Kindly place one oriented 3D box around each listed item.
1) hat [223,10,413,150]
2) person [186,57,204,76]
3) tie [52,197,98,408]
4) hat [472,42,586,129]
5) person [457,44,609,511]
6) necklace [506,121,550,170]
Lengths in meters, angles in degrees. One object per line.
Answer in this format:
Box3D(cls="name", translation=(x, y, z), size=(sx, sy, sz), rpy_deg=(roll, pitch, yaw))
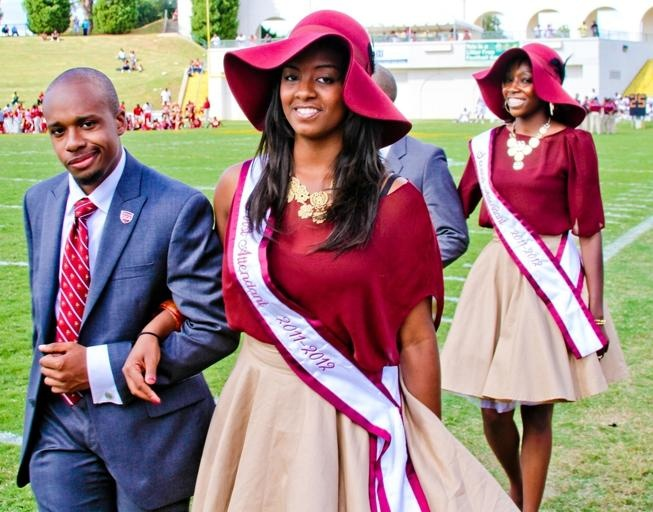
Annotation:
Box3D(cls="hat", translation=(0.014, -0.608, 2.457), size=(0.461, 0.316, 0.507), rpy_deg=(0, 8, -10))
Box3D(cls="person", translation=(-8.297, -12.132, 50.264), size=(0.938, 0.636, 1.405), rpy_deg=(1, 37, 0))
Box3D(cls="tie", translation=(-0.835, 0.046, 2.611), size=(0.128, 0.456, 0.178), rpy_deg=(2, 14, 7))
Box3D(cls="hat", translation=(0.975, -0.905, 3.863), size=(0.464, 0.308, 0.479), rpy_deg=(19, -17, -22))
Box3D(cls="person", translation=(0.974, -0.178, 3.721), size=(0.856, 1.611, 0.768), rpy_deg=(9, 16, 31))
Box3D(cls="necklace", translation=(0.943, -0.523, 3.775), size=(0.159, 0.259, 0.030), rpy_deg=(8, -11, 43))
